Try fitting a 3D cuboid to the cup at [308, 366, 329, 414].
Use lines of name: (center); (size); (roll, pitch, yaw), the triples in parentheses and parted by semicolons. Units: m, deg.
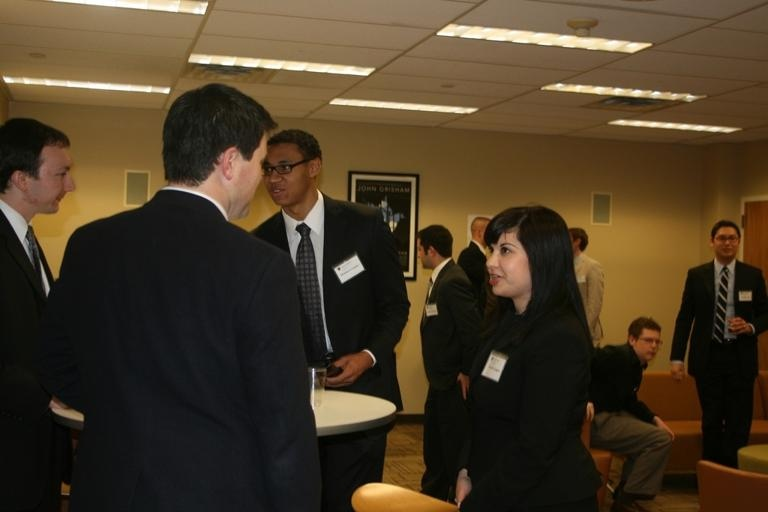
cup: (-0.306, 0.578, 2.522); (0.107, 0.176, 0.108); (-2, -21, -1)
